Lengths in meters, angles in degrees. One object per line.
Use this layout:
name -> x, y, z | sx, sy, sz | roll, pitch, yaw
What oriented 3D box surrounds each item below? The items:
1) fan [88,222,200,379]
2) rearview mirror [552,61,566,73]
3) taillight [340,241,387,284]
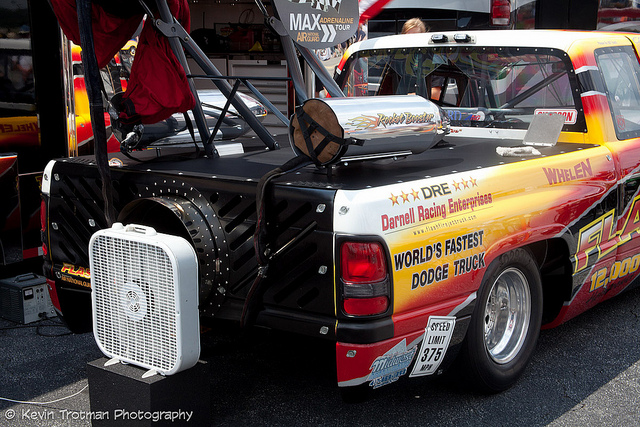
fan -> -1.022, 0.523, 2.948 | 0.769, 0.884, 0.453 | 9, 13, 32
rearview mirror -> 2.077, -1.269, 4.421 | 0.070, 0.116, 0.127 | -1, 6, -10
taillight -> 0.246, 0.243, 2.827 | 0.231, 0.219, 0.227 | 1, 5, 26
